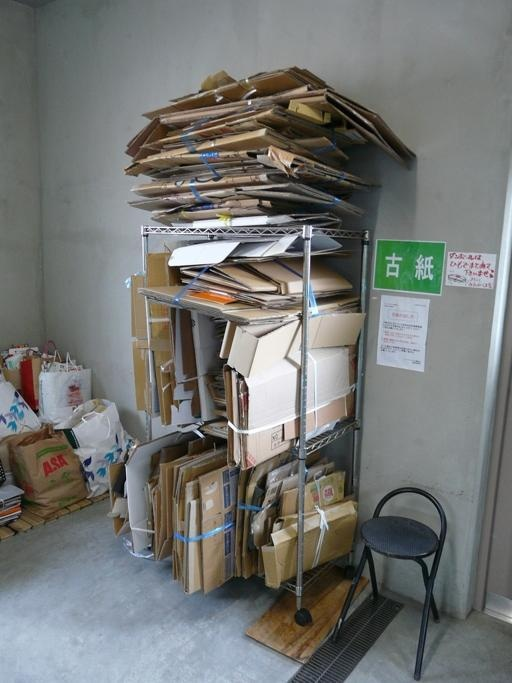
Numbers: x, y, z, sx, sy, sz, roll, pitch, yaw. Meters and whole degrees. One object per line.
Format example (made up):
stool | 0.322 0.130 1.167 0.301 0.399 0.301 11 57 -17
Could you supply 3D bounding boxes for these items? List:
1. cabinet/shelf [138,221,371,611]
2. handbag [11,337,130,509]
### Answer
cabinet/shelf | 0.042 0.338 2.201 0.999 1.630 0.692 -3 10 -19
handbag | -1.270 0.530 3.541 0.954 0.796 0.497 9 13 44
